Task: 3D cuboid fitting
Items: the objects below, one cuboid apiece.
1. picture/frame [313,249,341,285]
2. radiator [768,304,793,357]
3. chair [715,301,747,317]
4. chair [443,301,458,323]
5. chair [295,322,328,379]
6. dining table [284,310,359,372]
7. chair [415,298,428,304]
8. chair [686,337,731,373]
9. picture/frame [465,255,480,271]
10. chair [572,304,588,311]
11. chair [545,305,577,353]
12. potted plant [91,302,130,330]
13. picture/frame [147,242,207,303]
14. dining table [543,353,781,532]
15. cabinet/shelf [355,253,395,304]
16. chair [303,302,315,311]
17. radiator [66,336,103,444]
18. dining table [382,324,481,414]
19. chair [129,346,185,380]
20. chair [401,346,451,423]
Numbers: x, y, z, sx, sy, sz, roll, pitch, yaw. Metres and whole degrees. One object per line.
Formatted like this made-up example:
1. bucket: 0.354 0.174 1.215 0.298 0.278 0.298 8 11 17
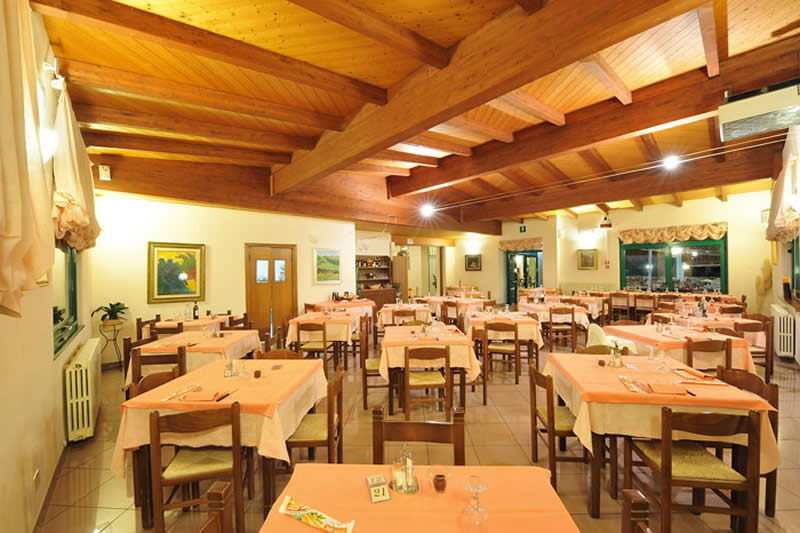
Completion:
1. picture/frame: -1.647 -0.019 12.200 0.873 0.803 0.040 1 1 38
2. radiator: 6.295 1.051 8.954 0.208 0.706 0.552 -5 0 15
3. chair: 6.129 0.772 10.093 0.513 0.276 0.488 0 -1 8
4. chair: 0.989 0.897 10.855 0.253 0.395 0.709 -1 0 -12
5. chair: -1.342 1.194 8.398 0.495 0.753 0.530 2 6 -6
6. dining table: -1.281 1.163 8.713 1.158 0.479 0.913 4 -12 -14
7. chair: 0.462 0.774 12.397 0.170 0.169 0.138 -1 -1 7
8. chair: 3.769 1.079 6.661 0.414 0.594 0.437 2 10 24
9. picture/frame: 2.402 -0.149 17.982 0.553 0.452 0.049 2 0 42
10. chair: 3.582 0.783 10.699 0.278 0.155 0.264 2 5 11
11. chair: 2.886 1.043 9.693 0.471 0.697 0.474 2 -8 17
12. potted plant: -4.783 0.764 8.991 0.546 0.445 0.417 -1 0 -26
13. picture/frame: -4.032 0.089 9.709 1.216 1.274 0.111 -1 1 -40
14. dining table: 2.739 1.445 5.997 1.966 0.449 2.310 3 1 9
15. cabinet/shelf: -0.652 0.442 14.814 1.160 1.385 0.423 -4 15 -30
16. chair: -1.865 0.808 11.188 0.213 0.283 0.201 2 -5 -21
17. radiator: -3.862 1.530 6.633 0.309 0.723 1.254 0 3 -24
18. dining table: 0.375 1.146 7.190 1.252 0.620 1.180 0 2 -1
19. chair: -2.842 1.146 6.474 0.712 0.317 0.660 4 -2 -3
20. chair: 0.341 1.473 6.989 0.634 0.918 0.648 0 -4 -5
